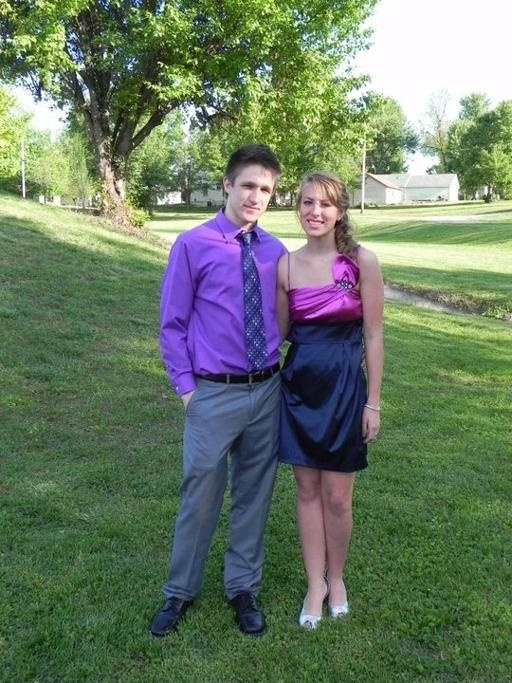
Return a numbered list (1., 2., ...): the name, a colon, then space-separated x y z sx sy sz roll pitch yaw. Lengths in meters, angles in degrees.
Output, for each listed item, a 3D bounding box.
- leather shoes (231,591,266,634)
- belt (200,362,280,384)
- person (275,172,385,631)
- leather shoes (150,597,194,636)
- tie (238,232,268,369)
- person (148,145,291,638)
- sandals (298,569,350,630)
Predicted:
1. leather shoes: -0.037 1.285 2.591 0.078 0.074 0.211 -5 4 -14
2. belt: -0.085 0.165 2.578 0.357 0.064 0.091 -1 11 -17
3. person: 0.349 0.261 2.677 0.474 2.134 0.609 -1 11 -16
4. leather shoes: -0.397 1.270 2.507 0.069 0.074 0.208 25 8 13
5. tie: -0.020 -0.190 2.597 0.115 0.648 0.230 -1 11 -12
6. person: -0.163 0.200 2.600 0.600 2.277 0.684 1 11 -4
7. sandals: 0.331 1.266 2.659 0.201 0.068 0.331 -5 7 7
